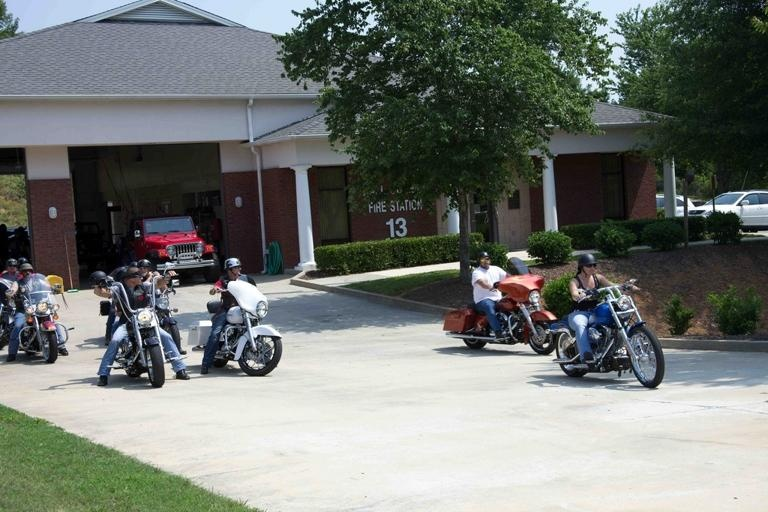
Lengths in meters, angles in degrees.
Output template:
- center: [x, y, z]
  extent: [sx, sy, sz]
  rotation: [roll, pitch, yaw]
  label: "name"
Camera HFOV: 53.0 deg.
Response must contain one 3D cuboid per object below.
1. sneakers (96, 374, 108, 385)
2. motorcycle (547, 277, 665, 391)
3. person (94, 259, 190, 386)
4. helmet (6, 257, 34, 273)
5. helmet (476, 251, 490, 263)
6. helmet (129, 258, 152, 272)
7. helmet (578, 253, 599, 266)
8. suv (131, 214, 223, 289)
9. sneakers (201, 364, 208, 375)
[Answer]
- center: [-5.280, 2.336, 14.473]
  extent: [0.173, 0.189, 0.222]
  rotation: [-4, -1, -20]
  label: "sneakers"
- center: [3.977, 1.354, 13.662]
  extent: [2.139, 1.936, 0.611]
  rotation: [-5, -1, 45]
  label: "motorcycle"
- center: [-4.671, 1.313, 14.721]
  extent: [1.475, 2.070, 1.012]
  rotation: [-5, -1, 13]
  label: "person"
- center: [-9.909, 0.242, 21.050]
  extent: [0.486, 0.557, 0.632]
  rotation: [0, -14, -29]
  label: "helmet"
- center: [2.228, 0.025, 17.132]
  extent: [0.248, 0.272, 0.298]
  rotation: [-8, 3, -27]
  label: "helmet"
- center: [-6.007, 0.211, 19.118]
  extent: [0.425, 0.323, 0.318]
  rotation: [-8, 9, 10]
  label: "helmet"
- center: [3.670, 0.072, 14.028]
  extent: [0.264, 0.253, 0.347]
  rotation: [-8, 14, -41]
  label: "helmet"
- center: [-8.632, -0.258, 31.400]
  extent: [2.592, 2.373, 4.761]
  rotation: [-2, 0, -27]
  label: "suv"
- center: [-3.551, 2.252, 15.307]
  extent: [0.187, 0.210, 0.551]
  rotation: [0, -3, -8]
  label: "sneakers"
